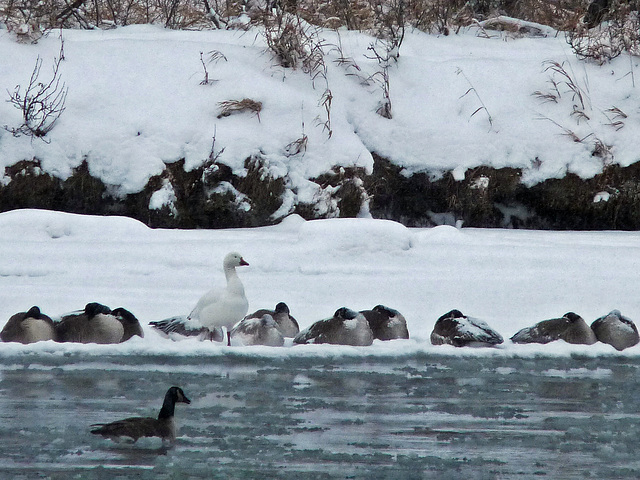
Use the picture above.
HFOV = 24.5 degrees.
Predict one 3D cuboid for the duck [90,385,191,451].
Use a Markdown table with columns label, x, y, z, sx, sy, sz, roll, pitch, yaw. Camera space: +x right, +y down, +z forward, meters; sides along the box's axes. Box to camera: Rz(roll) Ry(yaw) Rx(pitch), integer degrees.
| label | x | y | z | sx | sy | sz | roll | pitch | yaw |
| --- | --- | --- | --- | --- | --- | --- | --- | --- | --- |
| duck | -3.158 | 3.157 | 26.139 | 1.758 | 1.302 | 0.721 | 3 | 2 | -12 |

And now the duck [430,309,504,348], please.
| label | x | y | z | sx | sy | sz | roll | pitch | yaw |
| --- | --- | --- | --- | --- | --- | --- | --- | --- | --- |
| duck | 2.829 | 1.805 | 29.005 | 0.801 | 0.445 | 1.049 | 6 | 3 | -34 |
